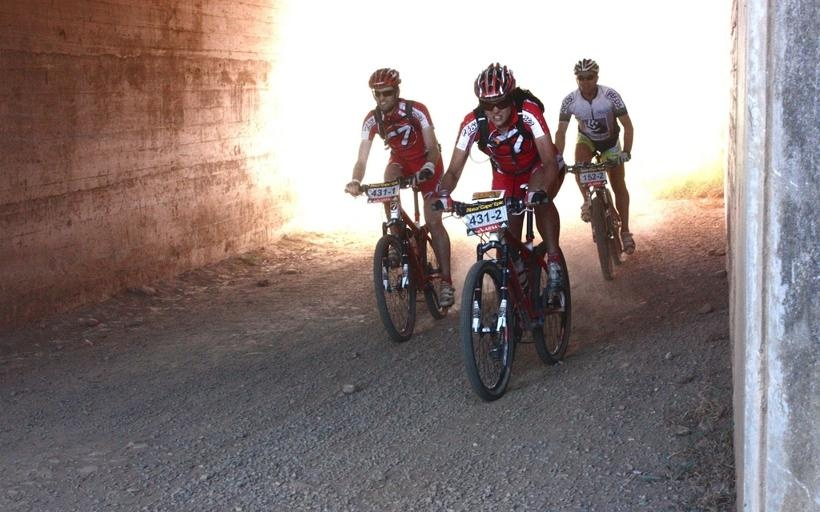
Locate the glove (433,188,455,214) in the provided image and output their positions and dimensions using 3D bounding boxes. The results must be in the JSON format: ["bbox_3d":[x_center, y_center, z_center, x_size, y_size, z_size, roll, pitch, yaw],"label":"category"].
[{"bbox_3d":[0.317,-0.515,5.182,0.148,0.092,0.219,1,33,-4],"label":"glove"}]

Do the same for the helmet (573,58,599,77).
[{"bbox_3d":[2.514,-2.677,7.814,0.327,0.211,0.427,2,20,14],"label":"helmet"}]

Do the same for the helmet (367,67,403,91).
[{"bbox_3d":[-0.297,-2.089,6.528,0.358,0.238,0.283,-6,19,-9],"label":"helmet"}]

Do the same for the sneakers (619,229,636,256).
[{"bbox_3d":[3.194,-0.196,8.036,0.182,0.326,0.107,-21,-1,24],"label":"sneakers"}]

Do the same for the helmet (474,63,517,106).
[{"bbox_3d":[0.820,-1.630,5.288,0.301,0.231,0.456,5,59,23],"label":"helmet"}]

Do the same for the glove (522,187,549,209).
[{"bbox_3d":[1.191,-0.544,5.176,0.215,0.153,0.383,-4,0,7],"label":"glove"}]

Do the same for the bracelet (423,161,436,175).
[{"bbox_3d":[0.223,-1.002,6.276,0.114,0.160,0.166,3,-10,11],"label":"bracelet"}]

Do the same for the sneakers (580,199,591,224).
[{"bbox_3d":[2.459,-0.619,7.687,0.095,0.281,0.202,-3,6,1],"label":"sneakers"}]
